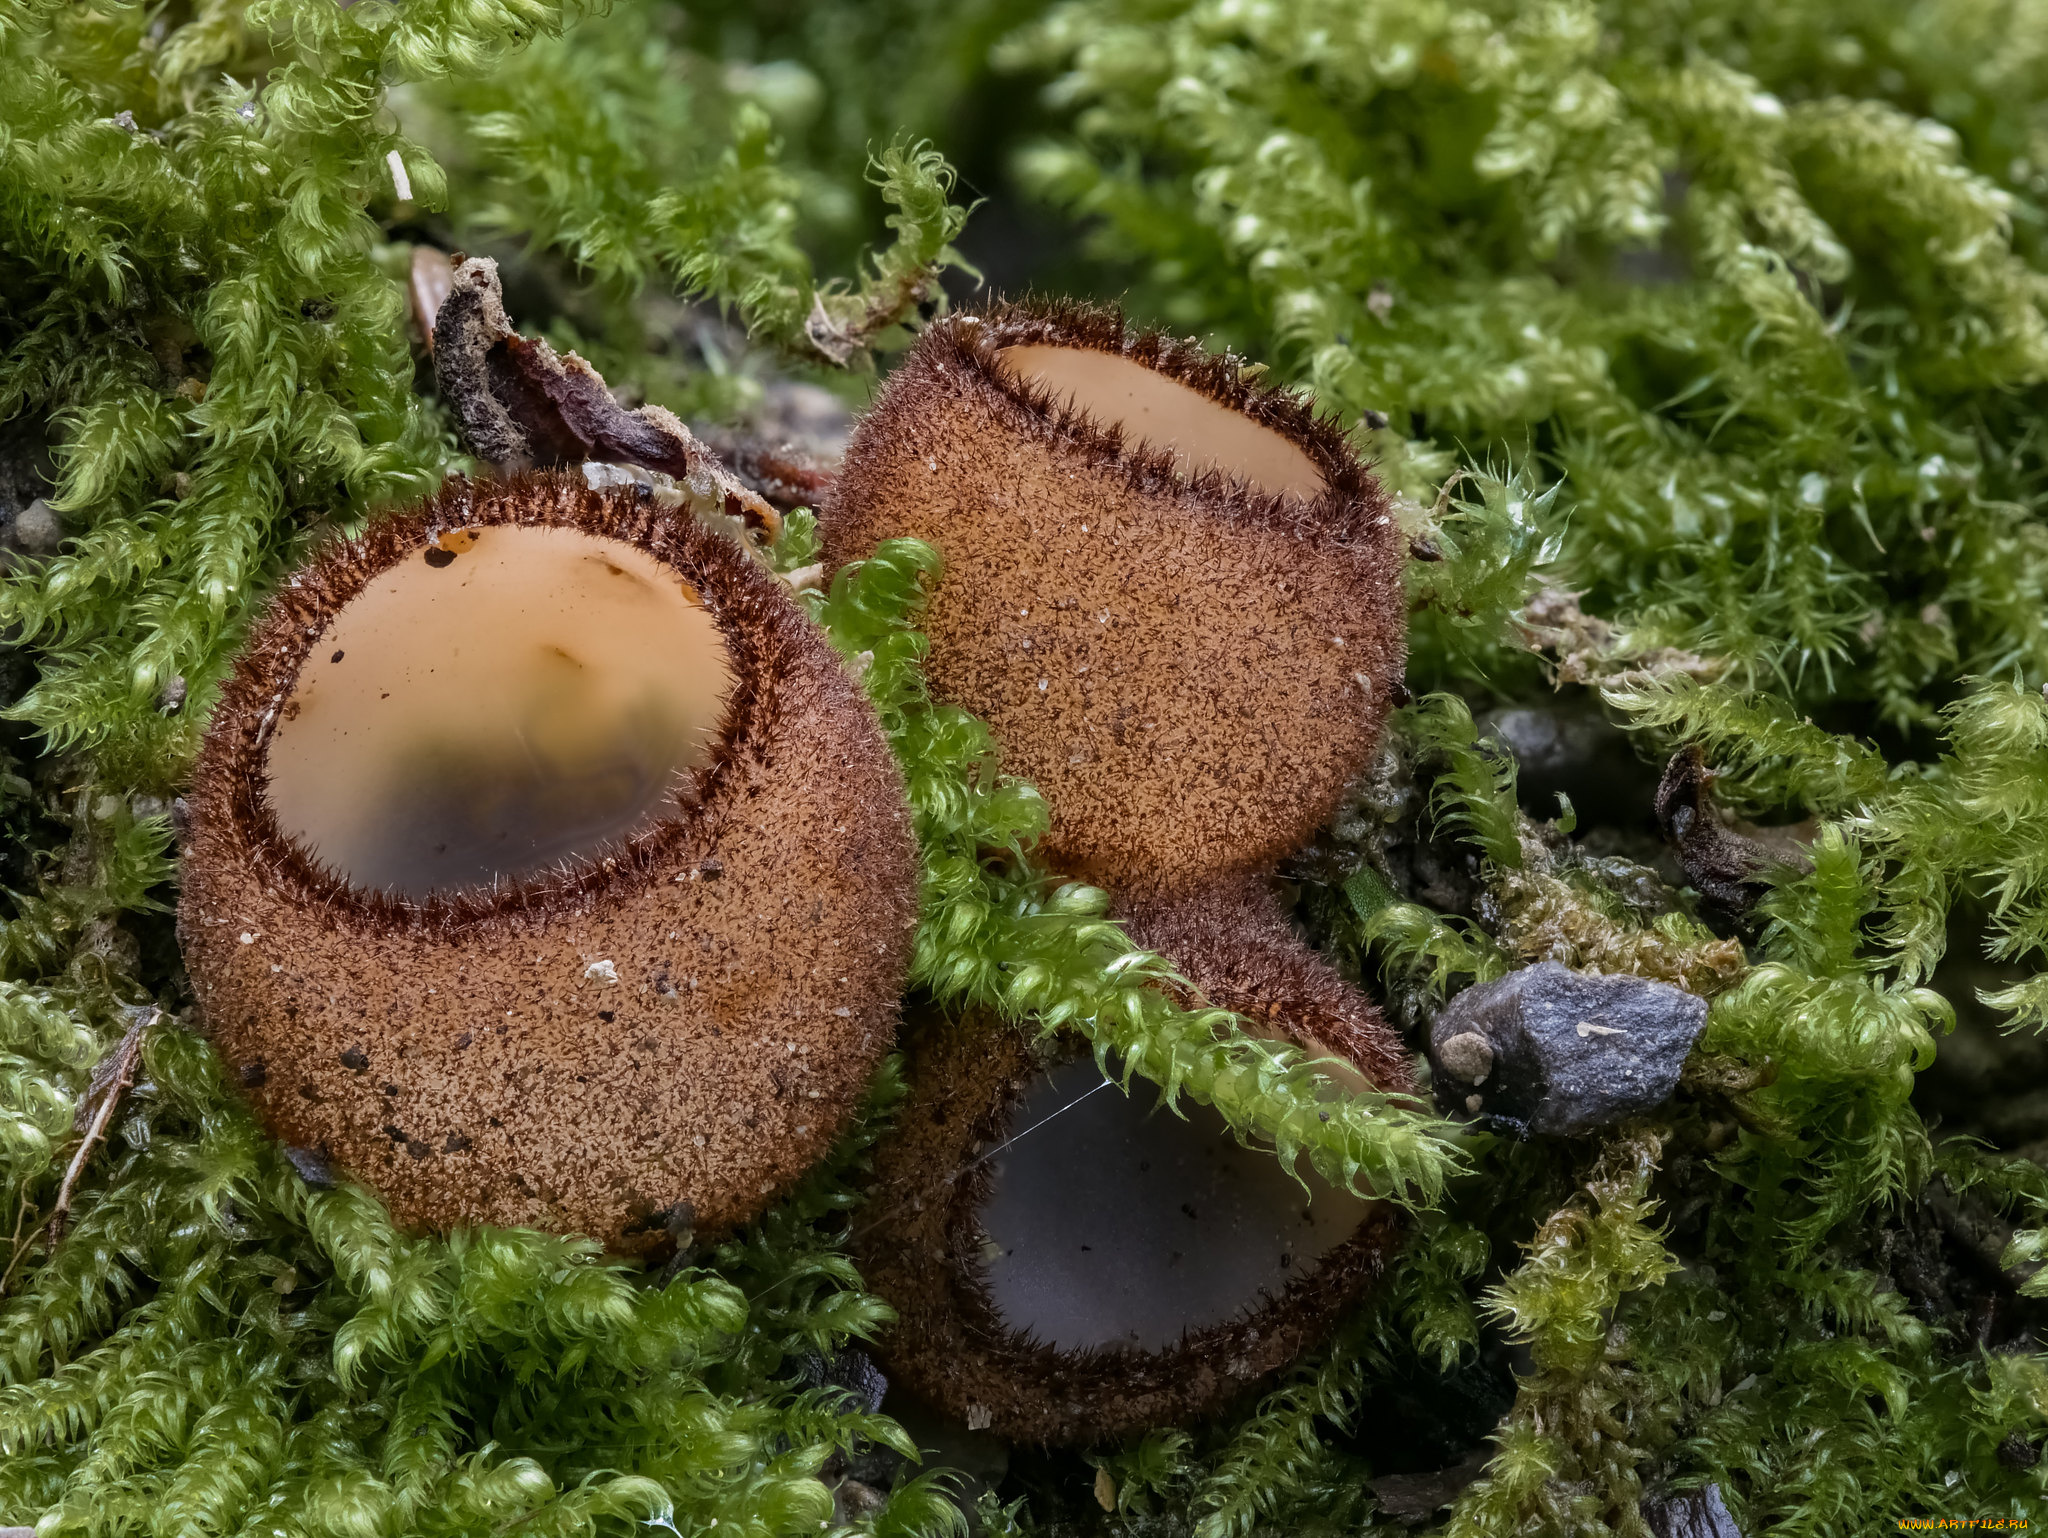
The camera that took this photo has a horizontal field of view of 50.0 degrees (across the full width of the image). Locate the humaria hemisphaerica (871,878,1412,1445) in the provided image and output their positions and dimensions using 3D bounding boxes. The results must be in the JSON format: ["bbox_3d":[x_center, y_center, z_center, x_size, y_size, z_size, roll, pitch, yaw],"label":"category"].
[{"bbox_3d":[0.102,0.649,2.834,0.685,0.136,0.474,24,76,-4],"label":"humaria hemisphaerica"}]
